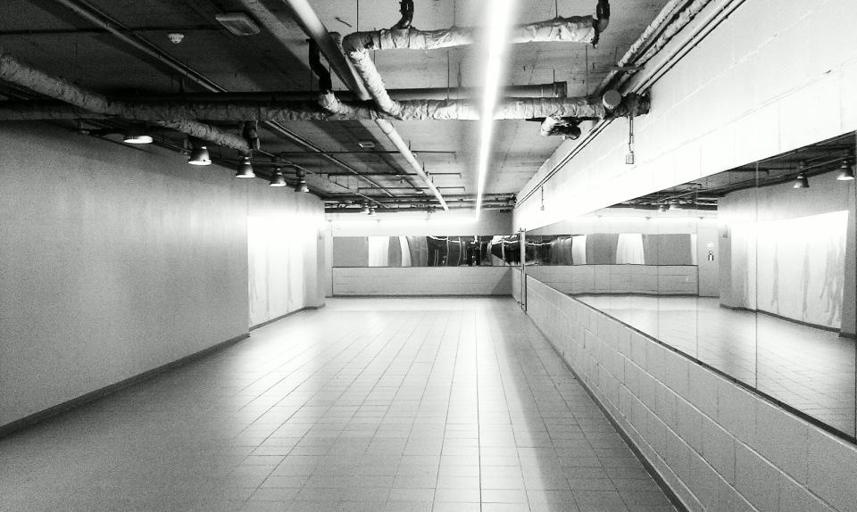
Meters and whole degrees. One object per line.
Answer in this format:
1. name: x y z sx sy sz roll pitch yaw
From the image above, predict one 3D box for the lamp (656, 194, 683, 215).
1. lamp: 2.341 -0.509 5.183 0.274 0.377 0.125 -1 -92 32
